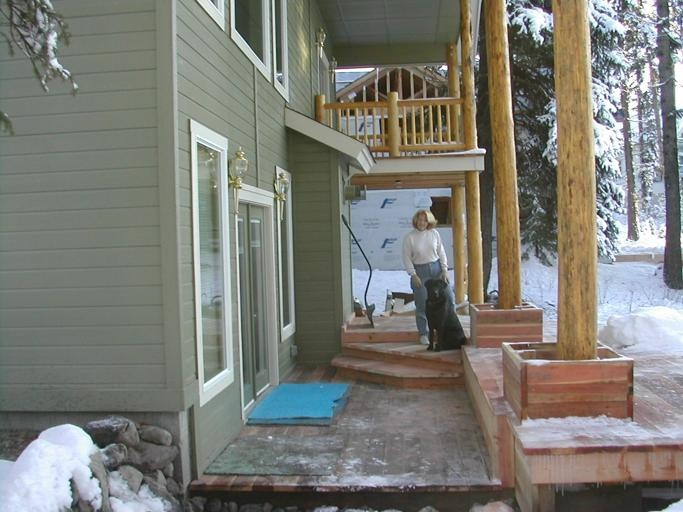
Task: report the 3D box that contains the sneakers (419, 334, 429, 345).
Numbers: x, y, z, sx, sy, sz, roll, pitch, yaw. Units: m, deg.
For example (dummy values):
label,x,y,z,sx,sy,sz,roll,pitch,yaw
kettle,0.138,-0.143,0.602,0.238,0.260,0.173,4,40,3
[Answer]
label,x,y,z,sx,sy,sz,roll,pitch,yaw
sneakers,1.209,1.237,8.963,0.080,0.103,0.146,1,-26,-1

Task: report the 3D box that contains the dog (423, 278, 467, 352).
label,x,y,z,sx,sy,sz,roll,pitch,yaw
dog,1.455,0.826,8.571,0.545,0.993,0.252,0,9,11

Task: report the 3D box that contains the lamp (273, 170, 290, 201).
label,x,y,z,sx,sy,sz,roll,pitch,yaw
lamp,-0.852,-0.995,8.651,0.178,0.407,0.333,-1,9,3

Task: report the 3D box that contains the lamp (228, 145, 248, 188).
label,x,y,z,sx,sy,sz,roll,pitch,yaw
lamp,-1.144,-0.950,6.665,0.270,0.438,0.201,6,12,43
